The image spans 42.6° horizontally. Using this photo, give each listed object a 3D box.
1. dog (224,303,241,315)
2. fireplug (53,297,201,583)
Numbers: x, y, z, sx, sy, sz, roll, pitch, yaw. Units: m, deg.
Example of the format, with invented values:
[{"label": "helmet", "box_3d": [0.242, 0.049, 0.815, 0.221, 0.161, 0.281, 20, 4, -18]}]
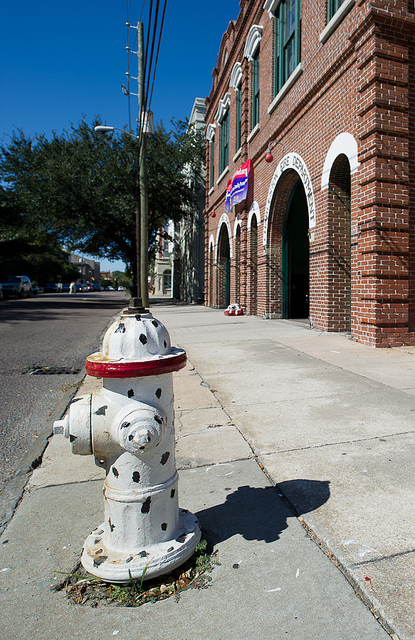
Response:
[{"label": "dog", "box_3d": [0.816, -0.337, 16.265, 0.396, 0.296, 0.623, 1, 2, 2]}, {"label": "fireplug", "box_3d": [-0.344, 0.491, 2.377, 0.636, 1.183, 0.432, 1, 2, -1]}]
